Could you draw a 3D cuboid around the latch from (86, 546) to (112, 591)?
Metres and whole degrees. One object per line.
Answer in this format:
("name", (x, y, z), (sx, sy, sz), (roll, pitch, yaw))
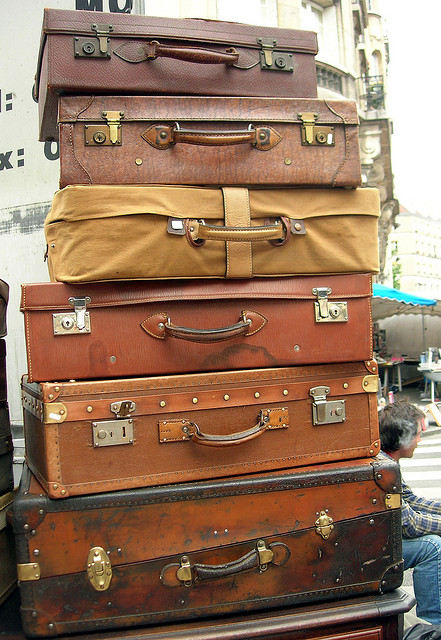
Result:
("latch", (-0.322, 0.660, 1.579), (0.061, 0.110, 0.023), (-6, 6, -19))

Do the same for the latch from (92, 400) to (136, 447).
("latch", (-0.283, 0.285, 1.615), (0.122, 0.123, 0.042), (0, -2, -28))

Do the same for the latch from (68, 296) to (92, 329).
("latch", (-0.381, -0.019, 1.626), (0.060, 0.086, 0.023), (-5, 6, -13))

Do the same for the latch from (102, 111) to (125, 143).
("latch", (-0.299, -0.546, 1.689), (0.062, 0.089, 0.024), (-5, 6, -8))

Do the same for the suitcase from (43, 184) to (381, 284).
("suitcase", (0.017, -0.259, 1.784), (1.020, 0.293, 0.164), (-5, 6, -19))
